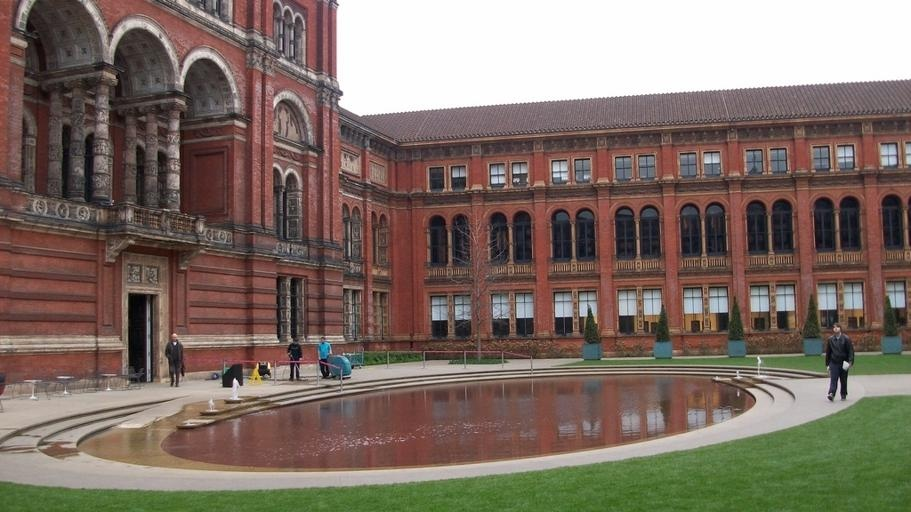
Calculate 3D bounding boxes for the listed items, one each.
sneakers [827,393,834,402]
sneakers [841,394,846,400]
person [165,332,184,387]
[{"bbox_3d":[17.033,6.504,45.531,0.169,0.199,0.472,-4,-25,17],"label":"sneakers"},{"bbox_3d":[17.648,6.437,45.578,0.187,0.230,0.542,-5,-13,19],"label":"sneakers"},{"bbox_3d":[-15.408,5.748,54.709,0.840,2.818,1.351,-2,-11,-9],"label":"person"}]
